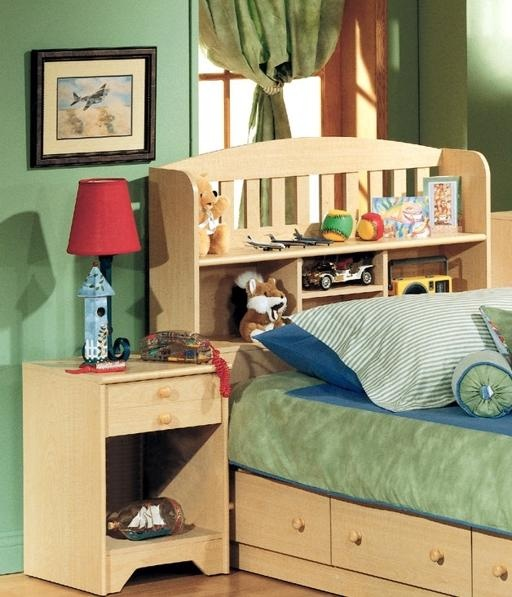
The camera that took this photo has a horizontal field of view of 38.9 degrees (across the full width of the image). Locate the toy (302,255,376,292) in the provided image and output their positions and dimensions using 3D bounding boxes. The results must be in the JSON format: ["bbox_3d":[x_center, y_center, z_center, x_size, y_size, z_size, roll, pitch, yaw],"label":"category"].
[{"bbox_3d":[0.314,-0.096,2.677,0.234,0.097,0.137,-2,2,-30],"label":"toy"}]

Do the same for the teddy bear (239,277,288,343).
[{"bbox_3d":[0.037,0.049,2.522,0.194,0.228,0.232,5,0,-20],"label":"teddy bear"}]

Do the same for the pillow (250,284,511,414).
[{"bbox_3d":[0.388,0.141,2.031,0.723,0.277,0.521,-3,4,3],"label":"pillow"}]

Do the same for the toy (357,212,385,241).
[{"bbox_3d":[0.414,-0.271,2.764,0.101,0.103,0.113,1,32,-6],"label":"toy"}]

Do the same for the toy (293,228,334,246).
[{"bbox_3d":[0.203,-0.223,2.628,0.116,0.046,0.074,4,9,18],"label":"toy"}]

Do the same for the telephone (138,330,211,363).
[{"bbox_3d":[-0.236,0.143,2.173,0.228,0.094,0.077,2,5,16],"label":"telephone"}]

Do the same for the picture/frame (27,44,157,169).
[{"bbox_3d":[-0.524,-0.606,2.258,0.465,0.347,0.035,-5,11,-33],"label":"picture/frame"}]
